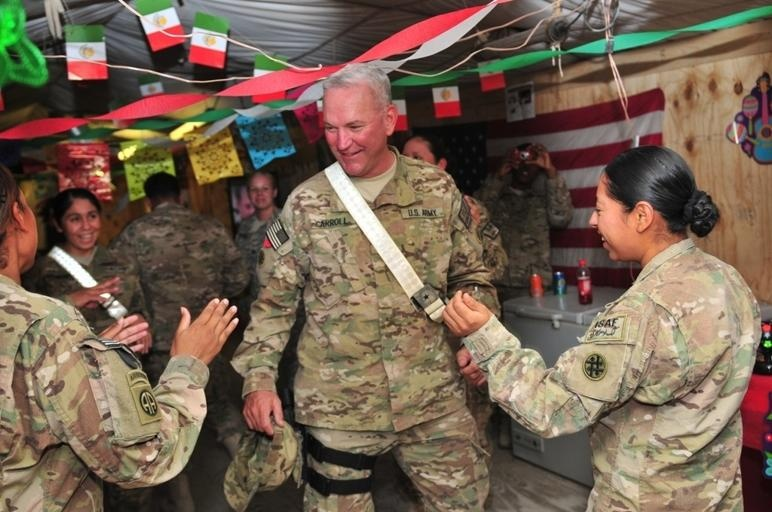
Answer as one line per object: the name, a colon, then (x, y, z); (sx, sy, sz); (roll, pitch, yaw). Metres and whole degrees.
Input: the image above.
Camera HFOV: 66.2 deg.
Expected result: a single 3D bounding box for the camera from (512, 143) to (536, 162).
camera: (1.269, -0.960, 5.434); (0.204, 0.174, 0.058); (1, -27, 25)
